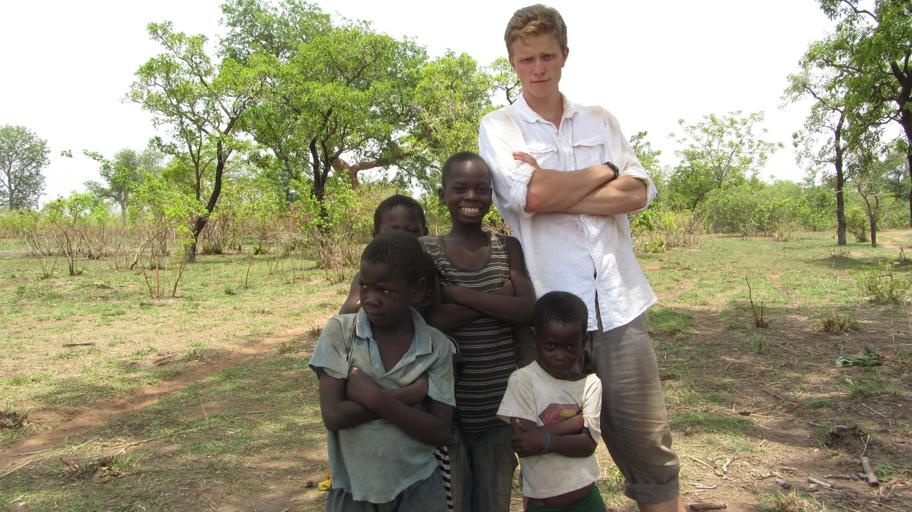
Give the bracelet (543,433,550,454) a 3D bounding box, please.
[{"bbox_3d":[1.451,2.912,9.878,0.106,0.219,0.189,2,-10,8],"label":"bracelet"}]
